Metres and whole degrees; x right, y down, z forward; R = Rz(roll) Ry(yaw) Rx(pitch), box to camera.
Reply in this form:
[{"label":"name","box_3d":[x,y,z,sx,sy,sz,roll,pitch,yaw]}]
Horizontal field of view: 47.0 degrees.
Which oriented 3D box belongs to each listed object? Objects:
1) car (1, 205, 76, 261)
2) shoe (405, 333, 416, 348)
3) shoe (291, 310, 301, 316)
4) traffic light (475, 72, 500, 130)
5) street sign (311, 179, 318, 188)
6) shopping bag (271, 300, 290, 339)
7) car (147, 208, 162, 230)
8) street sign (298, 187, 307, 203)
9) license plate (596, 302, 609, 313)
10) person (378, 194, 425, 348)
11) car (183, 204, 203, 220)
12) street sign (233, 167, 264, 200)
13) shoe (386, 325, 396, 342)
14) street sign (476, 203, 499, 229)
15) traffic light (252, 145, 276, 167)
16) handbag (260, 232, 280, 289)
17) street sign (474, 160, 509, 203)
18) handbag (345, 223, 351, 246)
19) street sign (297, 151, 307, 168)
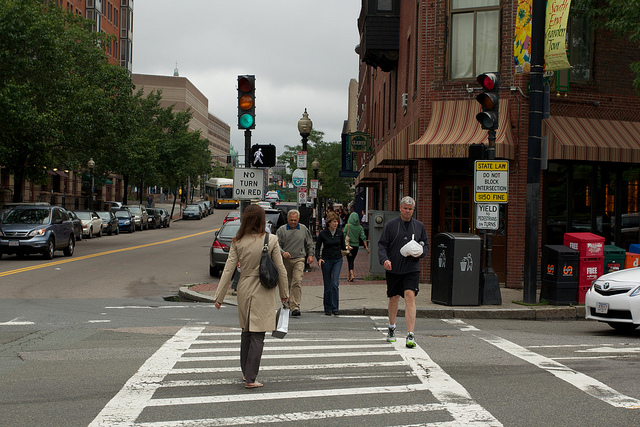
[{"label":"car","box_3d":[-11.026,0.688,28.705,1.539,1.304,2.947,-1,-6,0]},{"label":"shoe","box_3d":[1.710,2.402,13.874,0.189,0.247,0.537,0,-7,2]},{"label":"shoe","box_3d":[-0.536,2.278,16.986,0.237,0.154,0.173,-2,5,-32]},{"label":"traffic light","box_3d":[4.112,-2.770,18.029,0.509,1.386,0.542,2,4,21]},{"label":"street sign","box_3d":[-0.242,-1.235,30.311,0.287,0.410,0.298,1,-4,-3]},{"label":"shopping bag","box_3d":[-0.657,1.744,12.069,0.253,0.668,0.371,0,4,-5]},{"label":"car","box_3d":[-13.314,0.373,58.848,0.888,1.623,2.274,0,4,-8]},{"label":"street sign","box_3d":[-0.671,-0.699,27.783,0.303,0.602,0.834,0,4,-6]},{"label":"license plate","box_3d":[5.843,1.930,15.163,0.032,0.180,0.230,-4,5,-43]},{"label":"person","box_3d":[1.541,1.088,14.195,0.854,2.781,0.970,1,4,14]},{"label":"car","box_3d":[-12.640,-0.108,73.065,1.709,1.374,2.447,1,4,3]},{"label":"street sign","box_3d":[-1.756,-0.746,18.121,0.722,0.780,0.103,-1,-3,-1]},{"label":"shoe","box_3d":[1.390,2.345,14.350,0.184,0.259,0.292,1,4,3]},{"label":"street sign","box_3d":[4.170,0.048,18.206,0.587,0.731,0.072,1,-1,1]},{"label":"traffic light","box_3d":[-1.406,-1.444,18.431,0.562,0.549,0.580,-1,4,-12]},{"label":"handbag","box_3d":[-0.823,0.766,11.908,0.265,0.832,0.336,1,4,5]},{"label":"street sign","box_3d":[4.242,-0.802,18.175,0.982,1.241,0.090,0,2,6]},{"label":"handbag","box_3d":[0.921,0.672,24.753,0.172,0.711,0.404,0,4,-9]},{"label":"street sign","box_3d":[-0.652,-1.948,26.272,0.286,0.560,0.403,0,4,-11]}]
